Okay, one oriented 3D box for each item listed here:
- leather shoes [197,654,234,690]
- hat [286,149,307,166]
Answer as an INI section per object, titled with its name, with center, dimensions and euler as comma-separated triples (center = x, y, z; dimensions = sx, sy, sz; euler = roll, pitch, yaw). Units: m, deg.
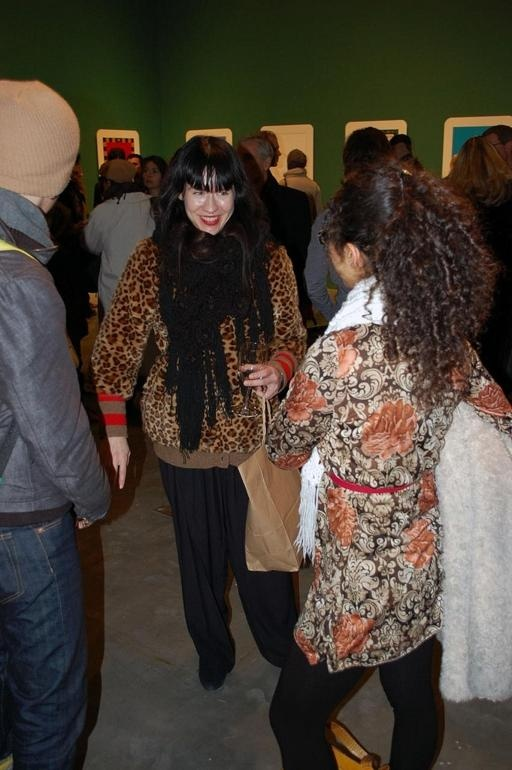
[leather shoes]
center = -0.144, 0.990, 2.045
dimensions = 0.077, 0.083, 0.123
euler = 0, 66, 15
[hat]
center = 0.393, -2.337, 6.115
dimensions = 0.198, 0.255, 0.269
euler = -2, 15, -2
